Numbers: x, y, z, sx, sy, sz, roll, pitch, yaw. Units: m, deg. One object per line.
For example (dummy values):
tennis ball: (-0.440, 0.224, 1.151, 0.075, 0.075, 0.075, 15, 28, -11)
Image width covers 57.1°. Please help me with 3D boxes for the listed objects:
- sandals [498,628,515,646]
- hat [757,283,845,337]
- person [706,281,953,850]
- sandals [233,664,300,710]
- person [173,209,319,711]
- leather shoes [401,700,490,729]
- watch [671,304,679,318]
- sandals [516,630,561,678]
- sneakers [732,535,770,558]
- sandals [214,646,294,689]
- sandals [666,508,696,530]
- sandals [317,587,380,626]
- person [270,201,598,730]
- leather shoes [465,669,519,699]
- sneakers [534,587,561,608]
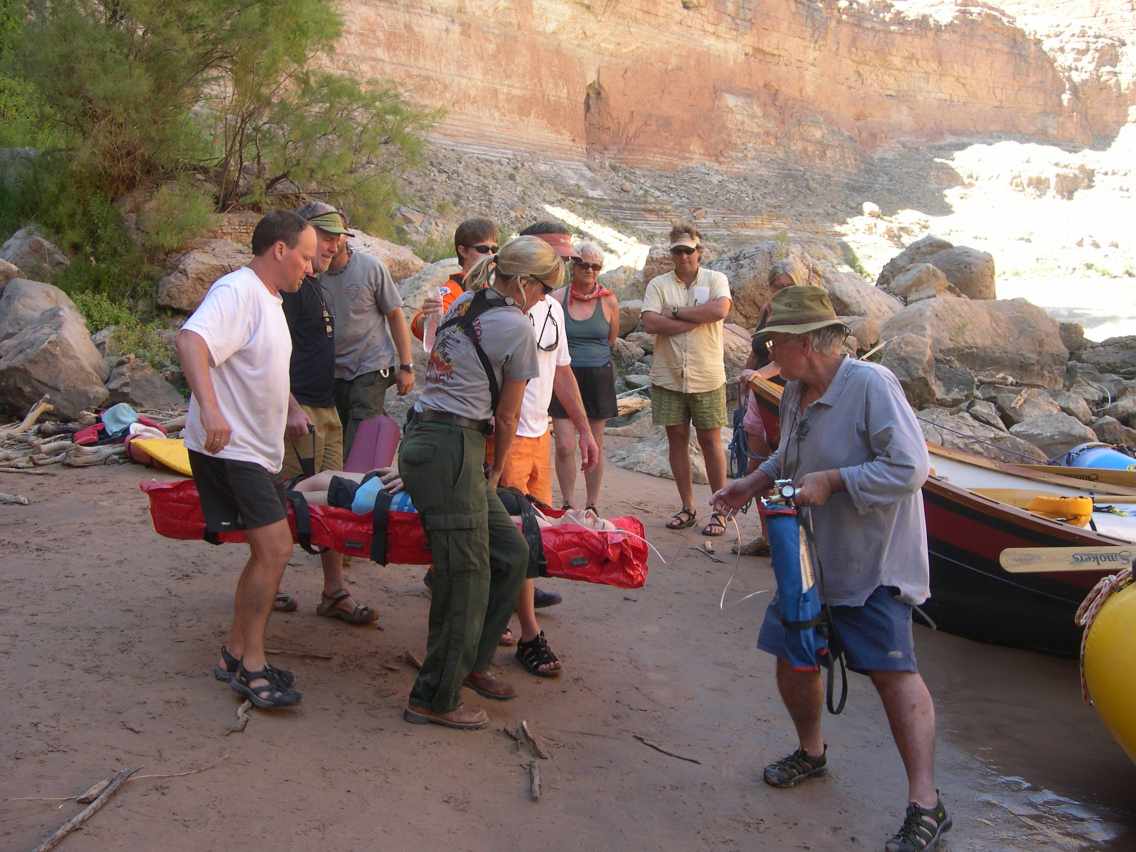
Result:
sandals: (-0.372, 1.319, 6.621, 0.128, 0.058, 0.177, 1, 7, 1)
hat: (1.117, -0.556, 5.027, 0.297, 0.126, 0.282, -5, 8, -4)
person: (1.354, 0.639, 5.039, 0.615, 2.539, 1.305, -12, 20, -39)
sandals: (-1.542, 1.337, 5.418, 0.337, 0.162, 0.206, 16, 15, 14)
person: (-1.642, 0.182, 5.418, 0.633, 2.506, 0.868, -2, 16, -12)
leather shoes: (-0.640, 1.535, 5.503, 0.359, 0.155, 0.180, 0, 5, -11)
watch: (0.905, -0.950, 8.657, 0.057, 0.086, 0.081, 0, -22, 7)
sandals: (-0.174, 1.382, 6.336, 0.154, 0.160, 0.352, -3, 2, -38)
sneakers: (1.509, 0.970, 8.491, 0.153, 0.084, 0.234, -1, 1, -31)
sandals: (-1.682, 1.257, 5.567, 0.494, 0.207, 0.182, 5, 7, 14)
sandals: (0.982, 0.810, 9.096, 0.121, 0.118, 0.310, -1, -5, 33)
sandals: (-1.382, 1.121, 6.560, 0.380, 0.162, 0.185, 11, 15, 20)
person: (-0.522, 0.299, 5.548, 0.643, 2.545, 0.912, 7, 16, 20)
leather shoes: (-0.426, 1.449, 5.876, 0.280, 0.109, 0.144, 9, 16, 19)
sneakers: (-0.147, 1.184, 7.205, 0.233, 0.111, 0.078, 2, 17, 0)
